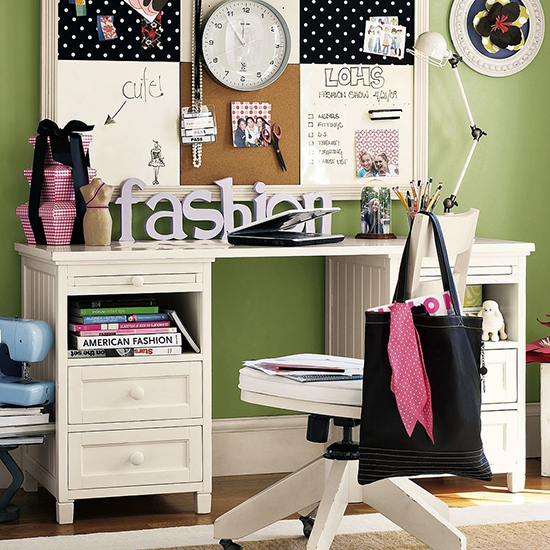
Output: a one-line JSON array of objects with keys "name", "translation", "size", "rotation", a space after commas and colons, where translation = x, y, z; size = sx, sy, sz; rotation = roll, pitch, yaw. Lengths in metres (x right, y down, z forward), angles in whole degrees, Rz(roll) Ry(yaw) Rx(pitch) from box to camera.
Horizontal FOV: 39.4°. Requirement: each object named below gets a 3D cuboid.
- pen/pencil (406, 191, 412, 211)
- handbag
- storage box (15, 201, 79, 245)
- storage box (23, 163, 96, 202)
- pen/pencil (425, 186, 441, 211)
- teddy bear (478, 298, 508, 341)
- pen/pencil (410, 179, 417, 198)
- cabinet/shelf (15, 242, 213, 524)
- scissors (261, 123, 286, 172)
[{"name": "pen/pencil", "translation": [0.470, -0.259, 2.678], "size": [0.014, 0.095, 0.013], "rotation": [-3, 3, 21]}, {"name": "handbag", "translation": [0.321, 0.149, 1.654], "size": [0.272, 0.577, 0.193], "rotation": [0, 1, 8]}, {"name": "storage box", "translation": [-0.688, -0.146, 2.307], "size": [0.131, 0.144, 0.155], "rotation": [-1, 1, 4]}, {"name": "storage box", "translation": [-0.651, -0.273, 2.309], "size": [0.119, 0.130, 0.078], "rotation": [-3, 3, -8]}, {"name": "pen/pencil", "translation": [0.563, -0.273, 2.729], "size": [0.024, 0.129, 0.013], "rotation": [17, -14, 28]}, {"name": "teddy bear", "translation": [0.715, 0.145, 2.513], "size": [0.076, 0.136, 0.107], "rotation": [-2, 0, 35]}, {"name": "pen/pencil", "translation": [0.500, -0.314, 2.764], "size": [0.021, 0.081, 0.030], "rotation": [-1, 7, 12]}, {"name": "cabinet/shelf", "translation": [-0.421, 0.267, 2.303], "size": [0.456, 0.743, 0.468], "rotation": [1, 9, -1]}, {"name": "scissors", "translation": [-0.004, -0.448, 2.697], "size": [0.015, 0.152, 0.073], "rotation": [-7, 7, 45]}]
